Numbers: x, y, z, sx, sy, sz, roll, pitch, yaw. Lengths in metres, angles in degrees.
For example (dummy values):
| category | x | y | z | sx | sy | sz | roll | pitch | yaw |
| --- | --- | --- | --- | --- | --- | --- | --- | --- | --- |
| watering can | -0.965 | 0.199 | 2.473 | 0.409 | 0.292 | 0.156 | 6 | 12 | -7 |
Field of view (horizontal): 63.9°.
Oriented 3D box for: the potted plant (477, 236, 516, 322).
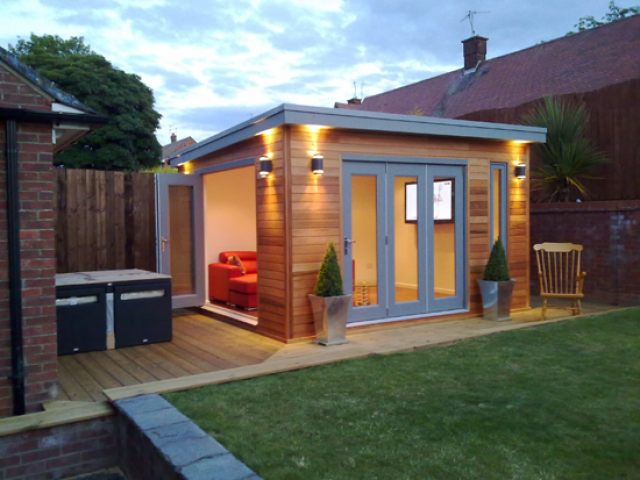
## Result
| category | x | y | z | sx | sy | sz | roll | pitch | yaw |
| --- | --- | --- | --- | --- | --- | --- | --- | --- | --- |
| potted plant | 2.852 | 0.628 | 8.328 | 0.529 | 1.296 | 0.233 | 1 | 6 | 21 |

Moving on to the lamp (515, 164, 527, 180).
| category | x | y | z | sx | sy | sz | roll | pitch | yaw |
| --- | --- | --- | --- | --- | --- | --- | --- | --- | --- |
| lamp | 3.476 | -1.190 | 8.872 | 0.240 | 0.239 | 0.111 | -3 | 6 | -18 |

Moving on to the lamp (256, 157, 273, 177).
| category | x | y | z | sx | sy | sz | roll | pitch | yaw |
| --- | --- | --- | --- | --- | --- | --- | --- | --- | --- |
| lamp | -0.830 | -1.069 | 7.445 | 0.158 | 0.302 | 0.382 | -4 | 7 | -30 |

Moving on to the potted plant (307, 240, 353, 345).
| category | x | y | z | sx | sy | sz | roll | pitch | yaw |
| --- | --- | --- | --- | --- | --- | --- | --- | --- | --- |
| potted plant | 0.117 | 0.734 | 6.947 | 0.552 | 1.355 | 0.346 | 0 | 6 | 6 |

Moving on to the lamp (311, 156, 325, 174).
| category | x | y | z | sx | sy | sz | roll | pitch | yaw |
| --- | --- | --- | --- | --- | --- | --- | --- | --- | --- |
| lamp | -0.038 | -1.051 | 7.113 | 0.195 | 0.359 | 0.205 | 2 | 3 | 5 |

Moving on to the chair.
| category | x | y | z | sx | sy | sz | roll | pitch | yaw |
| --- | --- | --- | --- | --- | --- | --- | --- | --- | --- |
| chair | 4.442 | 0.744 | 9.451 | 1.033 | 1.670 | 1.176 | 0 | -6 | 9 |

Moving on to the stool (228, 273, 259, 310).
| category | x | y | z | sx | sy | sz | roll | pitch | yaw |
| --- | --- | --- | --- | --- | --- | --- | --- | --- | --- |
| stool | -1.310 | 0.890 | 8.821 | 0.576 | 0.434 | 0.579 | 0 | 0 | -34 |

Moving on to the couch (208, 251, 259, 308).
| category | x | y | z | sx | sy | sz | roll | pitch | yaw |
| --- | --- | --- | --- | --- | --- | --- | --- | --- | --- |
| couch | -1.481 | 0.718 | 9.391 | 1.031 | 0.821 | 0.960 | -1 | 2 | -41 |

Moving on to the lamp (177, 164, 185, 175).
| category | x | y | z | sx | sy | sz | roll | pitch | yaw |
| --- | --- | --- | --- | --- | --- | --- | --- | --- | --- |
| lamp | -2.826 | -1.464 | 10.481 | 0.218 | 0.173 | 0.226 | 1 | 1 | -7 |
